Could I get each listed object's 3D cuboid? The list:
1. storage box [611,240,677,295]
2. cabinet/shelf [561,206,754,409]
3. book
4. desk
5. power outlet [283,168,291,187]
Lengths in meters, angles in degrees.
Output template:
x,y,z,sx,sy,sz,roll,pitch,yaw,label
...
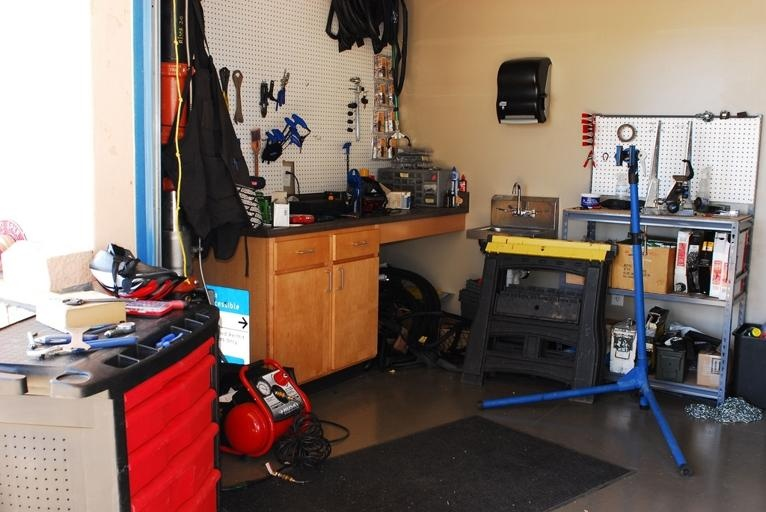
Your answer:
x,y,z,sx,sy,sz,roll,pitch,yaw,label
1.941,0.056,4.540,0.590,0.461,0.324,5,10,35,storage box
2.029,0.394,4.386,1.287,1.457,0.476,3,7,29,cabinet/shelf
-1.276,0.227,2.495,0.392,0.117,0.220,5,15,15,book
-0.190,0.268,5.041,0.724,1.224,2.452,5,8,41,desk
-0.752,-0.613,4.776,0.018,0.136,0.084,10,17,36,power outlet
